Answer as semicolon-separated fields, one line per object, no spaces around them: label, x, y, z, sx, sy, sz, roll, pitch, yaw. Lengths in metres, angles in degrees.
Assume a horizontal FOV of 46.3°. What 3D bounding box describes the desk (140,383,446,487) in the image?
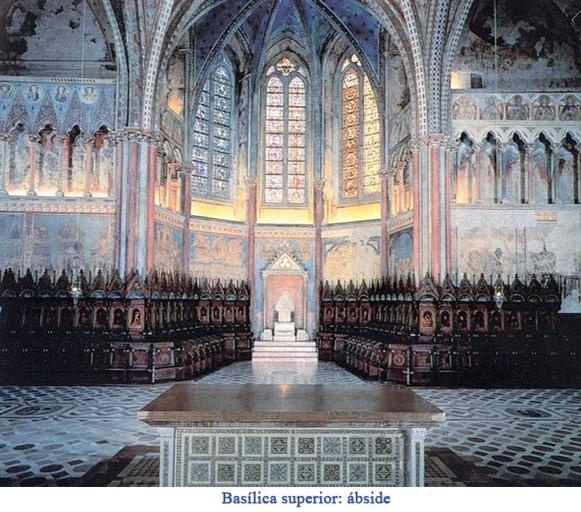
desk;0.013;1.952;7.496;2.921;0.879;0.858;-1;9;-1
